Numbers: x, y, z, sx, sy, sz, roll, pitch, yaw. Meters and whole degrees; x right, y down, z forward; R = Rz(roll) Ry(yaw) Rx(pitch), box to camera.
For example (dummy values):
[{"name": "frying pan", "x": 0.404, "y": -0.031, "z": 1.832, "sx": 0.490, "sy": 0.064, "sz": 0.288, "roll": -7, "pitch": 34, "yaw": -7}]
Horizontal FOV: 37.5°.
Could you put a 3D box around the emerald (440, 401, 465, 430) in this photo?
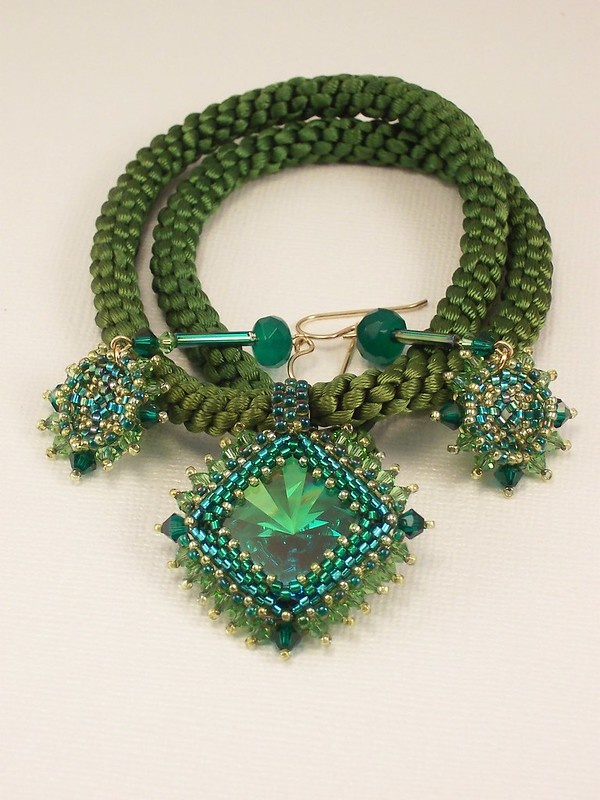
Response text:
[{"name": "emerald", "x": 0.255, "y": 0.024, "z": 1.469, "sx": 0.036, "sy": 0.033, "sz": 0.036, "roll": -30, "pitch": 10, "yaw": 31}]

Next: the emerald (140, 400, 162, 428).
[{"name": "emerald", "x": -0.250, "y": 0.025, "z": 1.486, "sx": 0.038, "sy": 0.043, "sz": 0.036, "roll": 7, "pitch": -2, "yaw": -9}]

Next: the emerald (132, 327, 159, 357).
[{"name": "emerald", "x": -0.262, "y": -0.096, "z": 1.505, "sx": 0.056, "sy": 0.039, "sz": 0.046, "roll": 2, "pitch": 36, "yaw": -17}]

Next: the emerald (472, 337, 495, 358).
[{"name": "emerald", "x": 0.308, "y": -0.087, "z": 1.483, "sx": 0.029, "sy": 0.027, "sz": 0.029, "roll": 4, "pitch": -22, "yaw": 6}]

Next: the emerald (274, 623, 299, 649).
[{"name": "emerald", "x": -0.020, "y": 0.353, "z": 1.328, "sx": 0.029, "sy": 0.030, "sz": 0.033, "roll": 42, "pitch": 3, "yaw": -16}]

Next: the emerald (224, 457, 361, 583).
[{"name": "emerald", "x": -0.017, "y": 0.190, "z": 1.380, "sx": 0.169, "sy": 0.167, "sz": 0.076, "roll": 5, "pitch": -3, "yaw": 26}]

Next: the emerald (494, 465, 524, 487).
[{"name": "emerald", "x": 0.346, "y": 0.125, "z": 1.468, "sx": 0.053, "sy": 0.034, "sz": 0.041, "roll": -1, "pitch": 2, "yaw": 5}]

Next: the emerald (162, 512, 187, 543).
[{"name": "emerald", "x": -0.193, "y": 0.197, "z": 1.365, "sx": 0.050, "sy": 0.036, "sz": 0.027, "roll": 1, "pitch": -7, "yaw": 26}]

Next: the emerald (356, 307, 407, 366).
[{"name": "emerald", "x": 0.158, "y": -0.117, "z": 1.622, "sx": 0.100, "sy": 0.084, "sz": 0.091, "roll": -2, "pitch": 4, "yaw": 0}]
